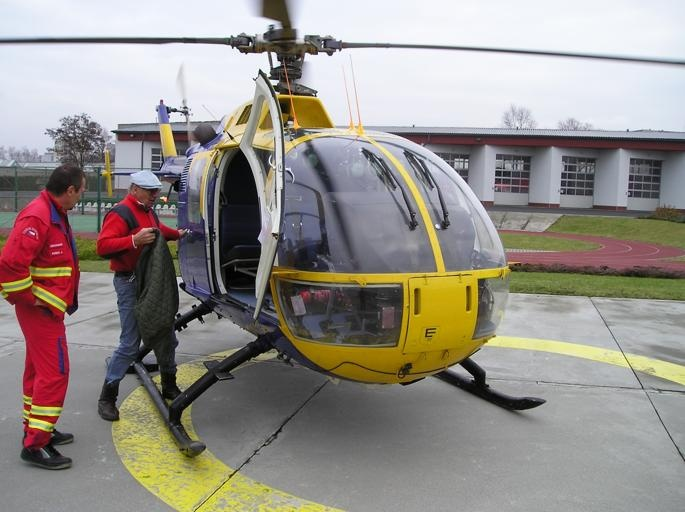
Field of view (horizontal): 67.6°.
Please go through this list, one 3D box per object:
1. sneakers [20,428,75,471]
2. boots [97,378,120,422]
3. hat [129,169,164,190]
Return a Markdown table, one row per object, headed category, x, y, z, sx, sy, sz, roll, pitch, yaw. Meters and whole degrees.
| category | x | y | z | sx | sy | sz | roll | pitch | yaw |
| --- | --- | --- | --- | --- | --- | --- | --- | --- | --- |
| sneakers | -2.367 | 1.523 | 4.025 | 0.694 | 0.203 | 0.195 | 2 | 1 | 11 |
| boots | -2.080 | 1.311 | 4.651 | 0.199 | 0.311 | 0.412 | 8 | 2 | -33 |
| hat | -1.798 | -0.685 | 4.627 | 0.309 | 0.097 | 0.196 | 6 | 18 | 16 |
